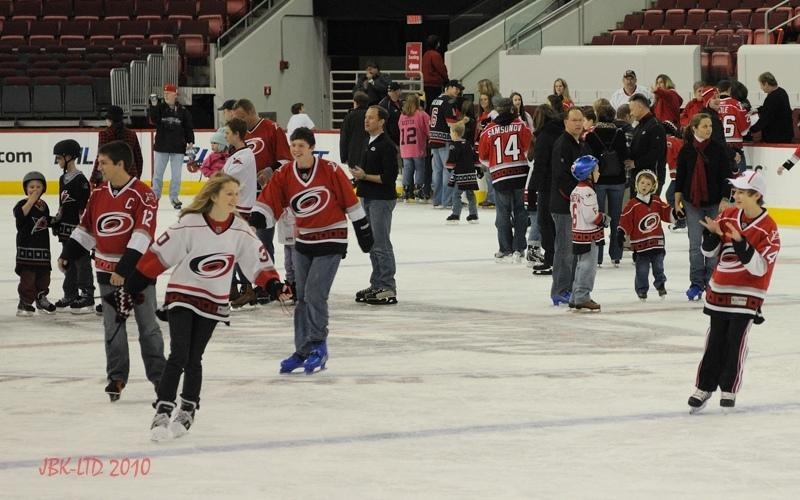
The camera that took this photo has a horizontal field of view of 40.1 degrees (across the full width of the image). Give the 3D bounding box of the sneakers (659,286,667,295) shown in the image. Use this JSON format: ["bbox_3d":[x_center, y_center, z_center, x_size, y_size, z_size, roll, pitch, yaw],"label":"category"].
[{"bbox_3d":[3.306,0.518,13.650,0.082,0.102,0.110,0,1,-2],"label":"sneakers"}]

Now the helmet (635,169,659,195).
[{"bbox_3d":[3.180,-0.880,13.951,0.282,0.344,0.330,1,-9,6],"label":"helmet"}]

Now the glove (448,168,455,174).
[{"bbox_3d":[0.950,-1.403,19.328,0.088,0.078,0.021,-1,31,2],"label":"glove"}]

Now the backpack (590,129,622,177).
[{"bbox_3d":[2.778,-1.308,14.619,0.467,0.633,0.263,2,13,12],"label":"backpack"}]

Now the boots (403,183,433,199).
[{"bbox_3d":[0.363,-1.196,22.331,0.612,0.366,0.398,3,13,14],"label":"boots"}]

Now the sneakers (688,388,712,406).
[{"bbox_3d":[2.707,1.337,9.817,0.096,0.108,0.291,8,2,36],"label":"sneakers"}]

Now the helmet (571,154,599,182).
[{"bbox_3d":[2.145,-0.943,12.690,0.290,0.301,0.347,-3,13,-11],"label":"helmet"}]

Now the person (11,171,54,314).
[{"bbox_3d":[-4.379,-0.090,13.141,0.486,1.679,0.616,-5,14,-17],"label":"person"}]

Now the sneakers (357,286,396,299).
[{"bbox_3d":[-0.281,0.537,13.592,0.426,0.183,0.140,4,3,4],"label":"sneakers"}]

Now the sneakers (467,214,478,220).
[{"bbox_3d":[1.333,-0.584,19.573,0.180,0.147,0.161,-2,13,-7],"label":"sneakers"}]

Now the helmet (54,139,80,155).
[{"bbox_3d":[-3.850,-1.191,12.800,0.288,0.167,0.214,-4,11,-20],"label":"helmet"}]

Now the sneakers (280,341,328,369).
[{"bbox_3d":[-0.915,1.051,10.835,0.420,0.195,0.256,-5,1,22],"label":"sneakers"}]

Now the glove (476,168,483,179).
[{"bbox_3d":[1.632,-1.524,21.665,0.146,0.215,0.233,0,-1,3],"label":"glove"}]

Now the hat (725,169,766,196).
[{"bbox_3d":[3.110,-0.601,9.793,0.309,0.159,0.198,5,7,-1],"label":"hat"}]

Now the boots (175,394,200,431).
[{"bbox_3d":[-1.798,1.418,9.342,0.140,0.266,0.406,6,8,21],"label":"boots"}]

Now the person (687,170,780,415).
[{"bbox_3d":[2.946,0.351,9.813,0.758,2.072,0.458,-6,14,-23],"label":"person"}]

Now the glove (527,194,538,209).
[{"bbox_3d":[1.803,-0.662,14.749,0.137,0.310,0.299,1,13,6],"label":"glove"}]

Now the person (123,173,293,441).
[{"bbox_3d":[-1.601,0.453,9.361,1.158,2.133,0.647,-4,13,-13],"label":"person"}]

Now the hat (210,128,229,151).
[{"bbox_3d":[-2.158,-1.383,13.647,0.244,0.294,0.315,1,-9,-2],"label":"hat"}]

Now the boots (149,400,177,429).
[{"bbox_3d":[-1.985,1.382,9.296,0.191,0.247,0.300,0,13,2],"label":"boots"}]

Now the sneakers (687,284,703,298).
[{"bbox_3d":[3.619,0.521,13.371,0.178,0.074,0.175,21,-22,0],"label":"sneakers"}]

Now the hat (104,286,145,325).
[{"bbox_3d":[-2.463,0.489,9.821,0.391,0.379,0.315,6,10,12],"label":"hat"}]

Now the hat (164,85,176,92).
[{"bbox_3d":[-4.295,-3.033,20.608,0.249,0.168,0.260,0,3,7],"label":"hat"}]

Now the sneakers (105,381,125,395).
[{"bbox_3d":[-2.602,1.276,10.077,0.165,0.141,0.108,-4,13,-15],"label":"sneakers"}]

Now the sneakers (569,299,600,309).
[{"bbox_3d":[2.197,0.658,12.881,0.278,0.103,0.145,-2,0,13],"label":"sneakers"}]
